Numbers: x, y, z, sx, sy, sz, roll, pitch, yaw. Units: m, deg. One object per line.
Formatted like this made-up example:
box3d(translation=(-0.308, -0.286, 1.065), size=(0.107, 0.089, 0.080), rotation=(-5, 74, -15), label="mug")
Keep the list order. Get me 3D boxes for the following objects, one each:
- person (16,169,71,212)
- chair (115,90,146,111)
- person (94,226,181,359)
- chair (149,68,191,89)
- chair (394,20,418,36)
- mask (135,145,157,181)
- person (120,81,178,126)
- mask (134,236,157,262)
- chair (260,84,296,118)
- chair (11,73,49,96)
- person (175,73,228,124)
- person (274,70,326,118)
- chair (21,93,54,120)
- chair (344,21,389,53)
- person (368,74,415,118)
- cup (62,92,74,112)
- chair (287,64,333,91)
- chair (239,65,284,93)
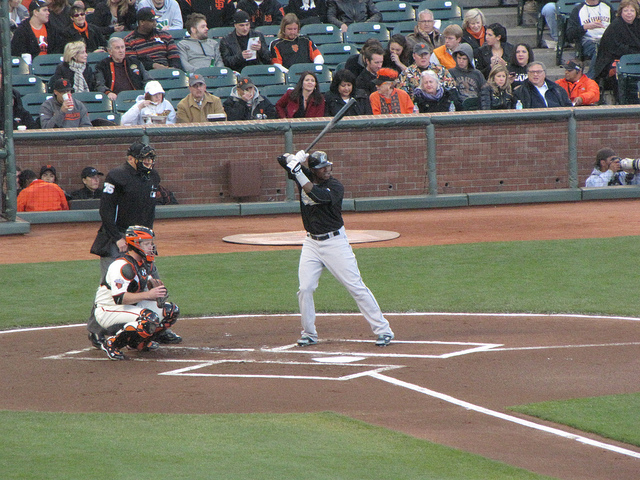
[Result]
box3d(translation=(-4.766, -0.858, 23.922), size=(0.882, 0.731, 0.263), rotation=(-4, 7, -8), label="person")
box3d(translation=(-3.529, -2.546, 25.403), size=(0.498, 0.501, 0.411), rotation=(-2, 7, -9), label="chair")
box3d(translation=(-2.412, 0.658, 18.136), size=(1.083, 1.694, 0.641), rotation=(-5, 8, -8), label="person")
box3d(translation=(-2.785, -2.991, 26.145), size=(0.574, 0.531, 0.506), rotation=(-1, 4, -16), label="chair")
box3d(translation=(1.819, -4.359, 28.680), size=(0.583, 0.266, 0.376), rotation=(-5, 7, -26), label="chair")
box3d(translation=(-2.270, -1.037, 18.683), size=(0.265, 0.471, 0.373), rotation=(0, 8, 25), label="mask")
box3d(translation=(-3.075, -2.414, 24.854), size=(1.033, 1.017, 0.569), rotation=(-2, 43, -17), label="person")
box3d(translation=(-2.227, 0.106, 18.017), size=(0.362, 0.255, 0.255), rotation=(1, 11, 0), label="mask")
box3d(translation=(-0.749, -2.507, 25.332), size=(0.692, 0.675, 0.550), rotation=(-4, 31, -7), label="chair")
box3d(translation=(-5.409, -2.897, 25.980), size=(0.517, 0.566, 0.514), rotation=(-5, 9, -21), label="chair")
box3d(translation=(-2.121, -2.502, 24.721), size=(0.931, 0.831, 0.599), rotation=(-4, 7, -5), label="person")
box3d(translation=(-0.361, -2.626, 25.323), size=(1.137, 0.848, 0.588), rotation=(6, 26, -8), label="person")
box3d(translation=(-5.233, -2.442, 25.581), size=(0.648, 0.632, 0.593), rotation=(-1, 4, -14), label="chair")
box3d(translation=(0.971, -4.149, 28.416), size=(0.917, 0.616, 0.926), rotation=(-3, 6, 2), label="chair")
box3d(translation=(1.285, -2.589, 25.204), size=(1.036, 0.732, 0.515), rotation=(-7, 6, -2), label="person")
box3d(translation=(-4.350, -2.408, 24.221), size=(0.133, 0.313, 0.271), rotation=(-1, 7, 20), label="cup")
box3d(translation=(-0.109, -3.149, 26.535), size=(0.871, 0.805, 0.701), rotation=(-3, 8, -10), label="chair")
box3d(translation=(-1.033, -3.145, 26.681), size=(0.967, 0.774, 0.670), rotation=(-1, 4, -5), label="chair")
